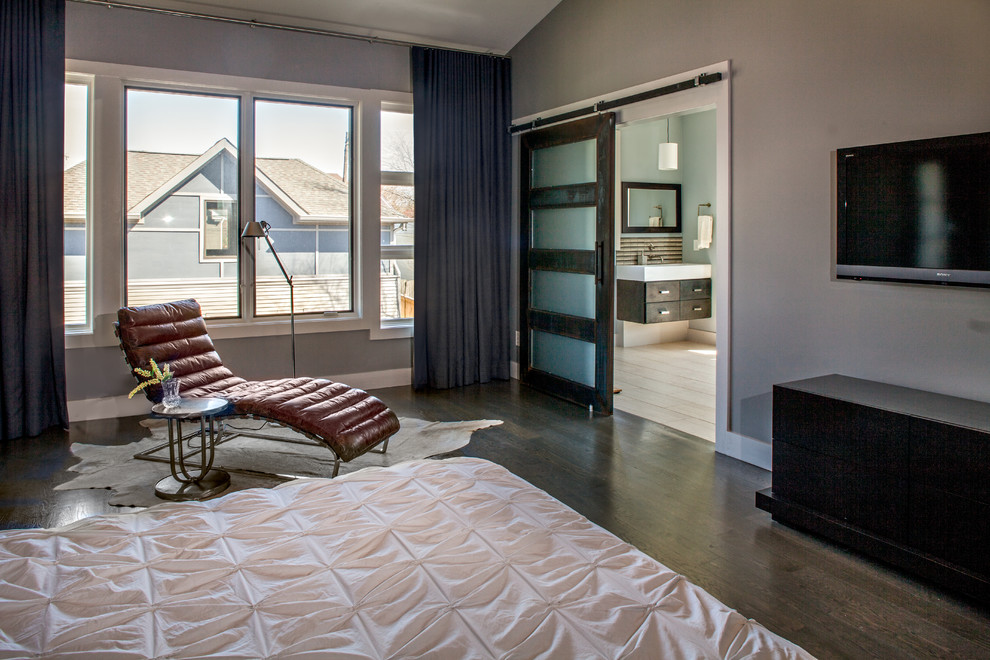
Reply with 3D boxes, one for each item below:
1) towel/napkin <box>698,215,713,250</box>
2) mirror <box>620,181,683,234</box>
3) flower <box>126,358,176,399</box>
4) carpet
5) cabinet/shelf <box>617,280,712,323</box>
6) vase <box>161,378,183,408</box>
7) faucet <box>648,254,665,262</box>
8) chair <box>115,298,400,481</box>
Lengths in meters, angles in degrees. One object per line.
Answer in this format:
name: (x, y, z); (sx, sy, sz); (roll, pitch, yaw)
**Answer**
towel/napkin: (2.535, -1.189, 8.245); (0.177, 0.398, 0.215); (3, 11, 26)
mirror: (1.953, -1.513, 8.461); (0.896, 0.628, 0.067); (-3, 6, -23)
flower: (-2.382, 0.326, 4.702); (0.434, 0.207, 0.335); (-7, 4, 22)
carpet: (-1.587, 1.143, 5.355); (2.471, 0.086, 2.602); (-11, -10, 8)
cabinet/shelf: (2.071, -0.388, 8.349); (1.067, 0.482, 0.602); (-5, 8, -30)
vase: (-2.038, 0.388, 4.247); (0.101, 0.176, 0.159); (-6, 11, -26)
faucet: (1.982, -0.891, 8.503); (0.309, 0.085, 0.082); (-2, 10, -14)
chair: (-1.703, 0.402, 4.884); (1.850, 1.007, 0.803); (7, 10, 17)
